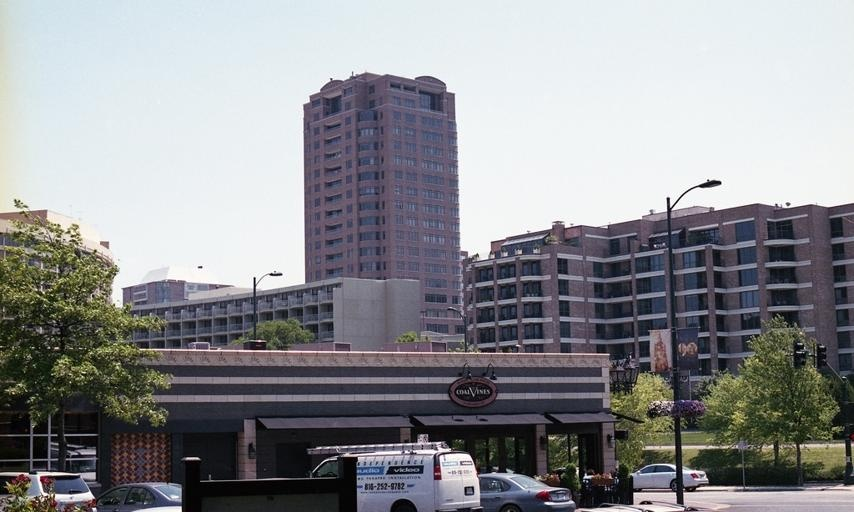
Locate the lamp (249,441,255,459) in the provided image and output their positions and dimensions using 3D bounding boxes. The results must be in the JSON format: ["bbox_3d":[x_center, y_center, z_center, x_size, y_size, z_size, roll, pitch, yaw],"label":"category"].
[{"bbox_3d":[-11.704,12.868,91.220,0.469,0.981,0.260,1,-14,-17],"label":"lamp"}]

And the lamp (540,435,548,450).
[{"bbox_3d":[8.200,12.888,95.684,0.542,0.965,0.325,8,-17,-39],"label":"lamp"}]

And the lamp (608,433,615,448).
[{"bbox_3d":[13.116,12.995,97.138,0.627,0.909,0.377,10,-18,-44],"label":"lamp"}]

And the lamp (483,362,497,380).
[{"bbox_3d":[4.398,8.036,94.964,0.814,1.069,1.255,4,-13,-27],"label":"lamp"}]
